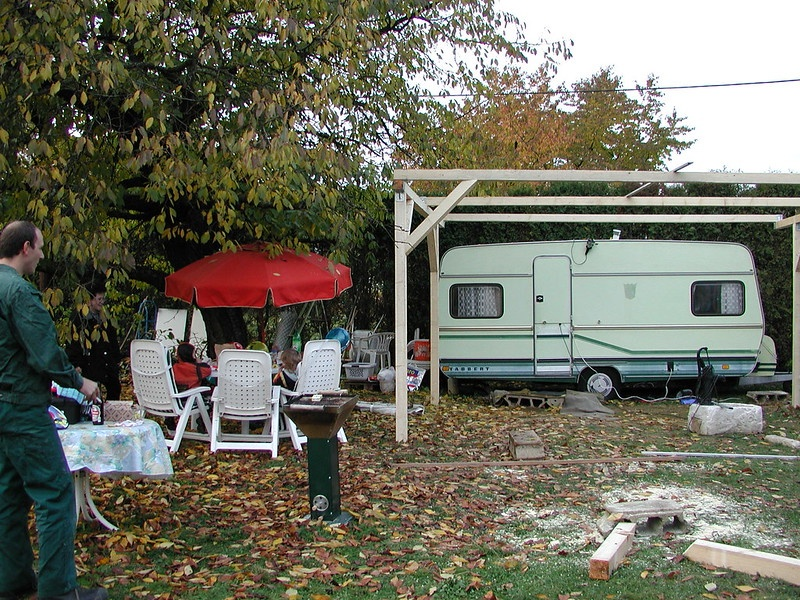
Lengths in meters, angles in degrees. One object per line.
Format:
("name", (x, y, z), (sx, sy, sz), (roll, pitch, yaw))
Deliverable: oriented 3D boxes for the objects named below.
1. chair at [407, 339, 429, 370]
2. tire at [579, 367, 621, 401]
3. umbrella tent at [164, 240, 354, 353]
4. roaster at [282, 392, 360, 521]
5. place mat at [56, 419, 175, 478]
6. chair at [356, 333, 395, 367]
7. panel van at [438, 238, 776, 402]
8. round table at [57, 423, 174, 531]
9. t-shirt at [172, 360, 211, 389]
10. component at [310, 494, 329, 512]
("chair", (0.385, 1.043, 13.569), (0.476, 0.543, 0.867), (10, 4, 9))
("tire", (3.554, 1.455, 12.524), (0.546, 0.593, 0.202), (1, -4, 6))
("umbrella tent", (-1.997, -0.327, 10.906), (2.642, 0.827, 2.686), (-3, 0, -3))
("roaster", (-0.754, 1.523, 6.872), (0.569, 1.162, 0.532), (1, 4, 17))
("place mat", (-2.430, 1.206, 6.210), (0.876, 0.486, 1.025), (12, 1, 35))
("chair", (-0.535, 0.974, 14.430), (0.720, 0.992, 0.676), (0, 3, -44))
("panel van", (3.842, 0.359, 13.458), (5.894, 2.792, 2.150), (-1, 0, 10))
("round table", (-2.559, 1.593, 6.441), (1.042, 0.996, 0.971), (6, 4, 0))
("t-shirt", (-2.742, 1.001, 9.391), (0.457, 0.437, 0.322), (5, -29, -17))
("component", (-0.736, 1.920, 6.784), (0.197, 0.215, 0.133), (1, 0, 3))
